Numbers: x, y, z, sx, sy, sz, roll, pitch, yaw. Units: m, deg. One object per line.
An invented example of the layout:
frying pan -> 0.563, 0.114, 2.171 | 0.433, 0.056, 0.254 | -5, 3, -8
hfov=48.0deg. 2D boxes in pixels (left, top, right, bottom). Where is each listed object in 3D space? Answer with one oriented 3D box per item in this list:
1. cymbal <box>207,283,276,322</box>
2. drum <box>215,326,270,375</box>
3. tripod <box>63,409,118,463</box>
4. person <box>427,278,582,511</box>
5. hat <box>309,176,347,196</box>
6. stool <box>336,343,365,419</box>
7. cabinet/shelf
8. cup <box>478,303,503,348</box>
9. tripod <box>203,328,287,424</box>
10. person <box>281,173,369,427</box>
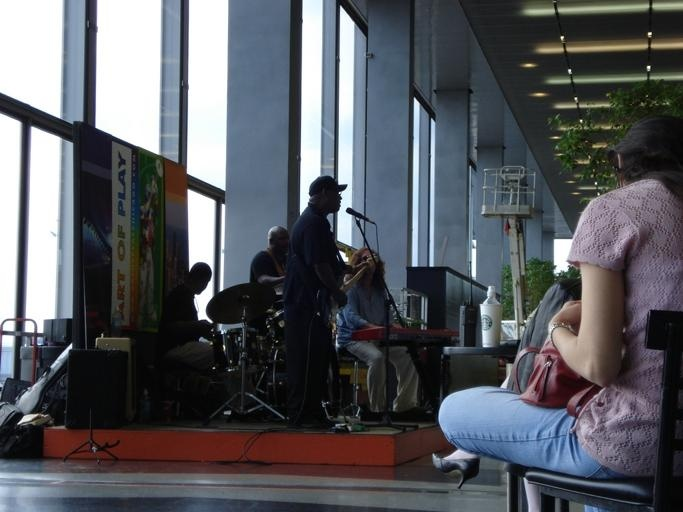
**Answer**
cymbal -> -0.748, 0.349, 5.690 | 0.494, 0.269, 0.400 | -3, -6, -1
drum -> -0.697, 0.703, 5.967 | 0.274, 0.306, 0.305 | -3, 0, 4
tripod -> -1.720, 1.237, 5.276 | 0.362, 0.341, 0.238 | -5, -6, 23
person -> 0.721, 0.374, 3.092 | 0.691, 0.985, 0.963 | 1, -3, 14
hat -> -0.101, -0.515, 5.541 | 0.211, 0.144, 0.149 | -5, 6, -2
stool -> 0.114, 1.039, 6.245 | 0.227, 0.475, 0.252 | 7, -6, -25
cabinet/shelf -> 0.963, 0.614, 6.581 | 0.351, 1.221, 1.200 | 0, -4, 18
cup -> 0.727, 0.343, 3.723 | 0.127, 0.213, 0.140 | -2, -9, 26
tripod -> -0.715, 0.859, 5.869 | 0.641, 1.052, 0.672 | -1, -13, -4
person -> -0.167, 0.294, 5.367 | 0.466, 1.763, 0.384 | -1, -5, -8
